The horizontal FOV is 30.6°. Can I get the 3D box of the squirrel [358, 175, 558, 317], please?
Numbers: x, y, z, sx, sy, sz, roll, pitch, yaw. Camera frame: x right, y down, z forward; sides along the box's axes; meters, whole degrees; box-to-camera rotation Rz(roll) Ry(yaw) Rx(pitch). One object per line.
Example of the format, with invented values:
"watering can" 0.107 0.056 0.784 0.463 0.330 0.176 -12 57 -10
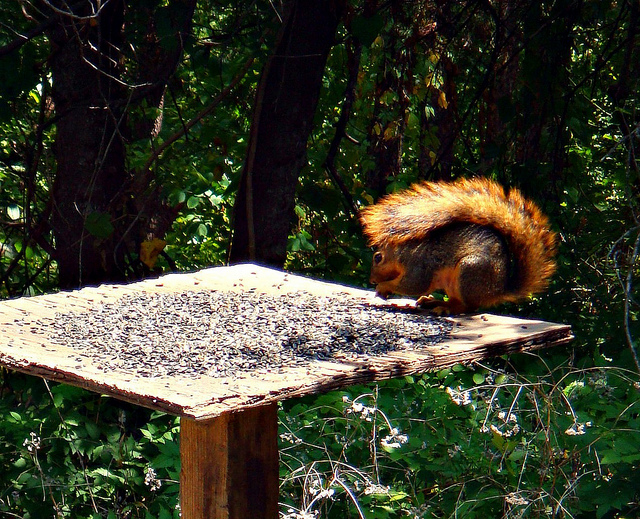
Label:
"squirrel" 0.569 -0.059 4.935 0.765 0.627 0.333 3 -2 9
